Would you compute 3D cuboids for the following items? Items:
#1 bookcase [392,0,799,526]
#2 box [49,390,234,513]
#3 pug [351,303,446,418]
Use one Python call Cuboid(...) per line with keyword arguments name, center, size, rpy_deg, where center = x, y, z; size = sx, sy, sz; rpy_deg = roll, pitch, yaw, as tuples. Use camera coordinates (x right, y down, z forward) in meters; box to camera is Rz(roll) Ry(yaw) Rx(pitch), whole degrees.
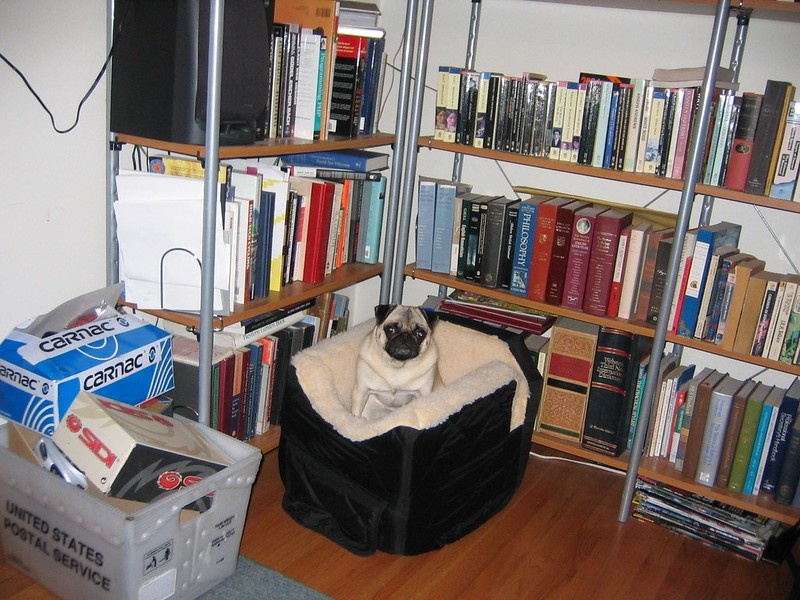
Cuboid(name="bookcase", center=(0.889, -0.112, 2.754), size=(1.819, 1.762, 0.622), rpy_deg=(25, 35, 33))
Cuboid(name="box", center=(-0.819, 0.450, 2.073), size=(0.492, 0.261, 0.347), rpy_deg=(-11, 22, -33))
Cuboid(name="pug", center=(-0.017, 0.296, 2.810), size=(0.377, 0.550, 0.349), rpy_deg=(8, 8, 2))
